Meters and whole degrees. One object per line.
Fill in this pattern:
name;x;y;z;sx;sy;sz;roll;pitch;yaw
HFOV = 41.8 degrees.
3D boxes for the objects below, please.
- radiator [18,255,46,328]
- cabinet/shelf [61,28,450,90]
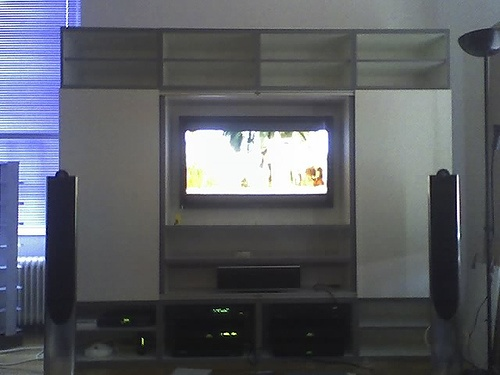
radiator;-1.929;0.903;5.799;0.216;0.569;0.464;1;-3;-20
cabinet/shelf;0.057;-1.115;5.885;3.408;0.582;0.355;0;-3;-1
